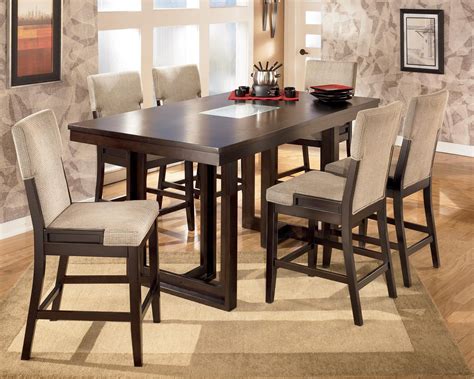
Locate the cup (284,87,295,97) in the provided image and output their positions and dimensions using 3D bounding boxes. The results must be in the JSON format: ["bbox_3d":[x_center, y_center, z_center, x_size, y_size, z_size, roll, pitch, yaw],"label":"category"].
[{"bbox_3d":[0.387,-0.736,3.241,0.088,0.079,0.073,-1,11,-3],"label":"cup"}]

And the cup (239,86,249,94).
[{"bbox_3d":[0.037,-0.752,3.250,0.075,0.066,0.078,-3,12,1],"label":"cup"}]

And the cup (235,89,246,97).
[{"bbox_3d":[0.020,-0.720,3.213,0.067,0.062,0.067,-1,11,0],"label":"cup"}]
